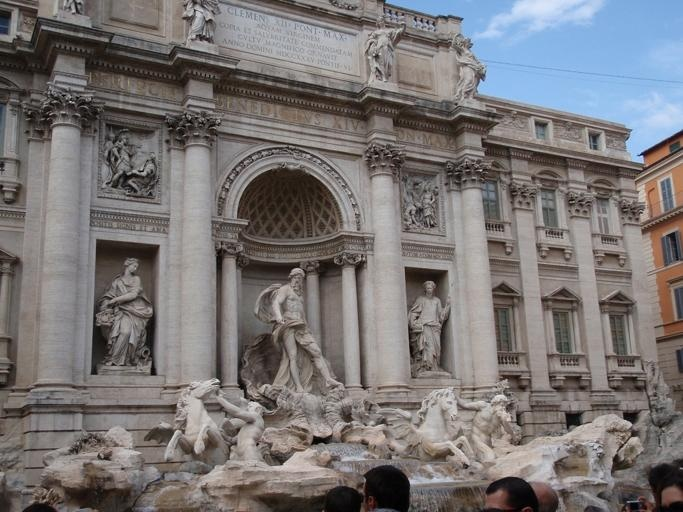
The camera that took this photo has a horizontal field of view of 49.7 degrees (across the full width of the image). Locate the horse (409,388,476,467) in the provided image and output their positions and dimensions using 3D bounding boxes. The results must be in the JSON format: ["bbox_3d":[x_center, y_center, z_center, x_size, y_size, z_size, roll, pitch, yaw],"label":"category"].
[{"bbox_3d":[3.015,4.939,21.269,1.820,2.078,2.038,-9,-20,28],"label":"horse"}]

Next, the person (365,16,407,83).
[{"bbox_3d":[1.633,-7.774,27.668,1.468,3.143,0.953,4,-15,-15],"label":"person"}]

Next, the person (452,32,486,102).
[{"bbox_3d":[4.944,-7.539,29.135,1.078,3.468,1.104,12,-19,-39],"label":"person"}]

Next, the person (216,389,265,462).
[{"bbox_3d":[-2.714,4.611,19.751,1.287,1.819,0.825,7,-54,-11],"label":"person"}]

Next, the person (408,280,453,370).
[{"bbox_3d":[3.184,2.669,26.985,1.552,3.391,0.545,4,-15,-16],"label":"person"}]
